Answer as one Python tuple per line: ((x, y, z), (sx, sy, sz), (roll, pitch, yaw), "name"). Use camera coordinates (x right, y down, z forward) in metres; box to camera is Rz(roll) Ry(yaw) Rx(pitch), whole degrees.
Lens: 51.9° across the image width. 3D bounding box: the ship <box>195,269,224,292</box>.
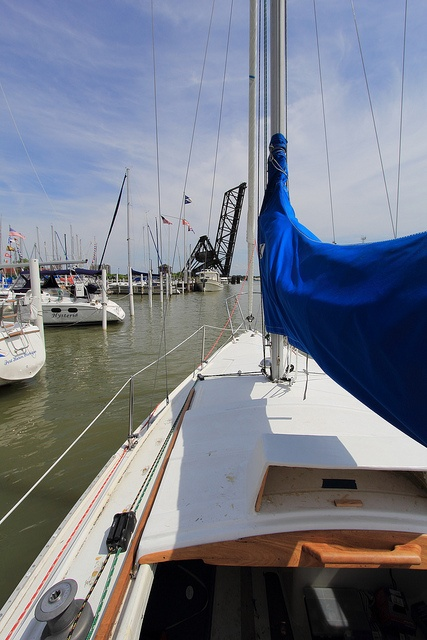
((-0.453, -3.454, 38.116), (1.707, 1.980, 5.727), (0, 4, 5), "ship")
